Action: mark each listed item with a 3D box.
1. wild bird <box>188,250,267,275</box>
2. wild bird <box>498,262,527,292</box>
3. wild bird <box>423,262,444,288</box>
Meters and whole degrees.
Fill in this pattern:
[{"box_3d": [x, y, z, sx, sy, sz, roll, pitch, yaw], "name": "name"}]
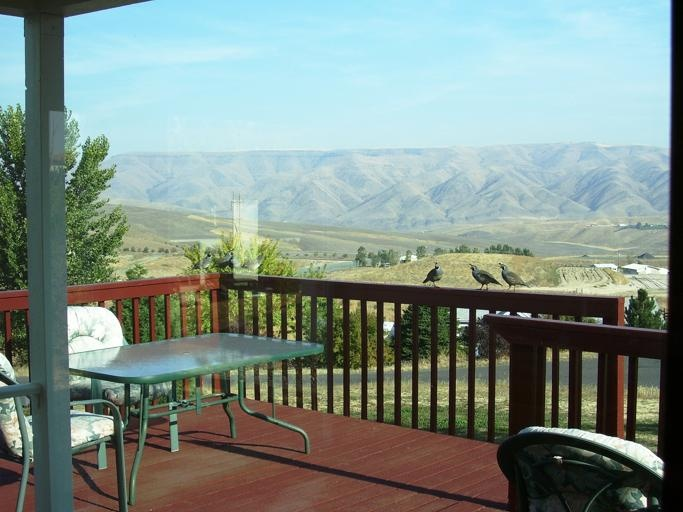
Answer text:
[{"box_3d": [-0.561, 0.074, 3.367, 0.315, 0.090, 0.115, 6, 12, -28], "name": "wild bird"}, {"box_3d": [1.242, 0.209, 5.068, 0.297, 0.153, 0.095, 16, -4, 15], "name": "wild bird"}, {"box_3d": [0.644, 0.185, 4.801, 0.176, 0.142, 0.097, -2, -5, 32], "name": "wild bird"}]
